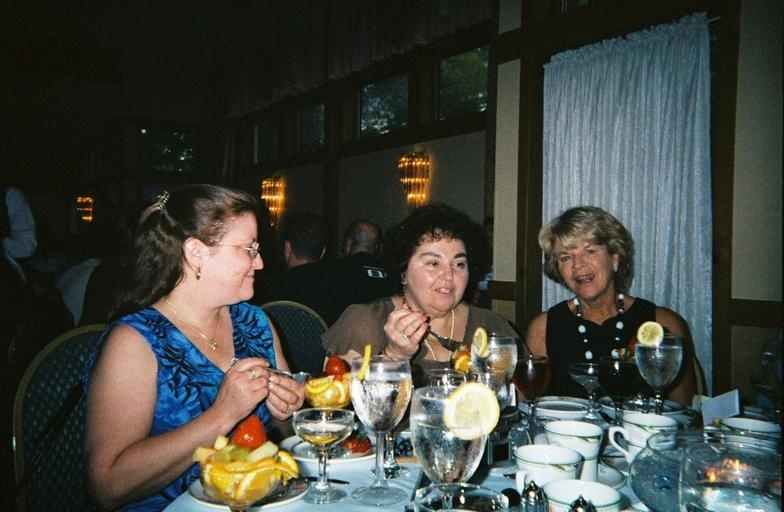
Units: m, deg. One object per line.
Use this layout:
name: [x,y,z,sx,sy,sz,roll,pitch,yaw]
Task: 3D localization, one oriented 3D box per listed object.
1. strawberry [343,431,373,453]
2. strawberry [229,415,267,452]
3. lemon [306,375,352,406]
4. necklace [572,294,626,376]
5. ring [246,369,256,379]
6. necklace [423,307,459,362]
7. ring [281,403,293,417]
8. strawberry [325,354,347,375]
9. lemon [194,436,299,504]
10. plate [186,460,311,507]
strawberry: [-0.163,0.950,3.245,0.115,0.096,0.064,-3,26,-4]
strawberry: [-0.670,0.833,2.948,0.130,0.169,0.110,-12,-34,12]
lemon: [-0.321,0.717,3.273,0.190,0.109,0.184,-7,-12,20]
necklace: [1.499,0.535,4.467,0.396,0.558,0.262,-3,-20,13]
ring: [-0.712,0.601,3.203,0.041,0.041,0.013,4,-13,-12]
necklace: [0.311,0.522,4.056,0.075,0.134,0.454,-16,-56,39]
ring: [-0.539,0.815,3.314,0.071,0.054,0.025,6,27,-13]
strawberry: [-0.312,0.602,3.496,0.105,0.134,0.104,-6,-15,-13]
lemon: [-0.648,0.979,2.848,0.351,0.250,0.325,-18,-36,31]
plate: [-0.657,0.971,2.827,0.322,0.069,0.331,-2,-9,14]
